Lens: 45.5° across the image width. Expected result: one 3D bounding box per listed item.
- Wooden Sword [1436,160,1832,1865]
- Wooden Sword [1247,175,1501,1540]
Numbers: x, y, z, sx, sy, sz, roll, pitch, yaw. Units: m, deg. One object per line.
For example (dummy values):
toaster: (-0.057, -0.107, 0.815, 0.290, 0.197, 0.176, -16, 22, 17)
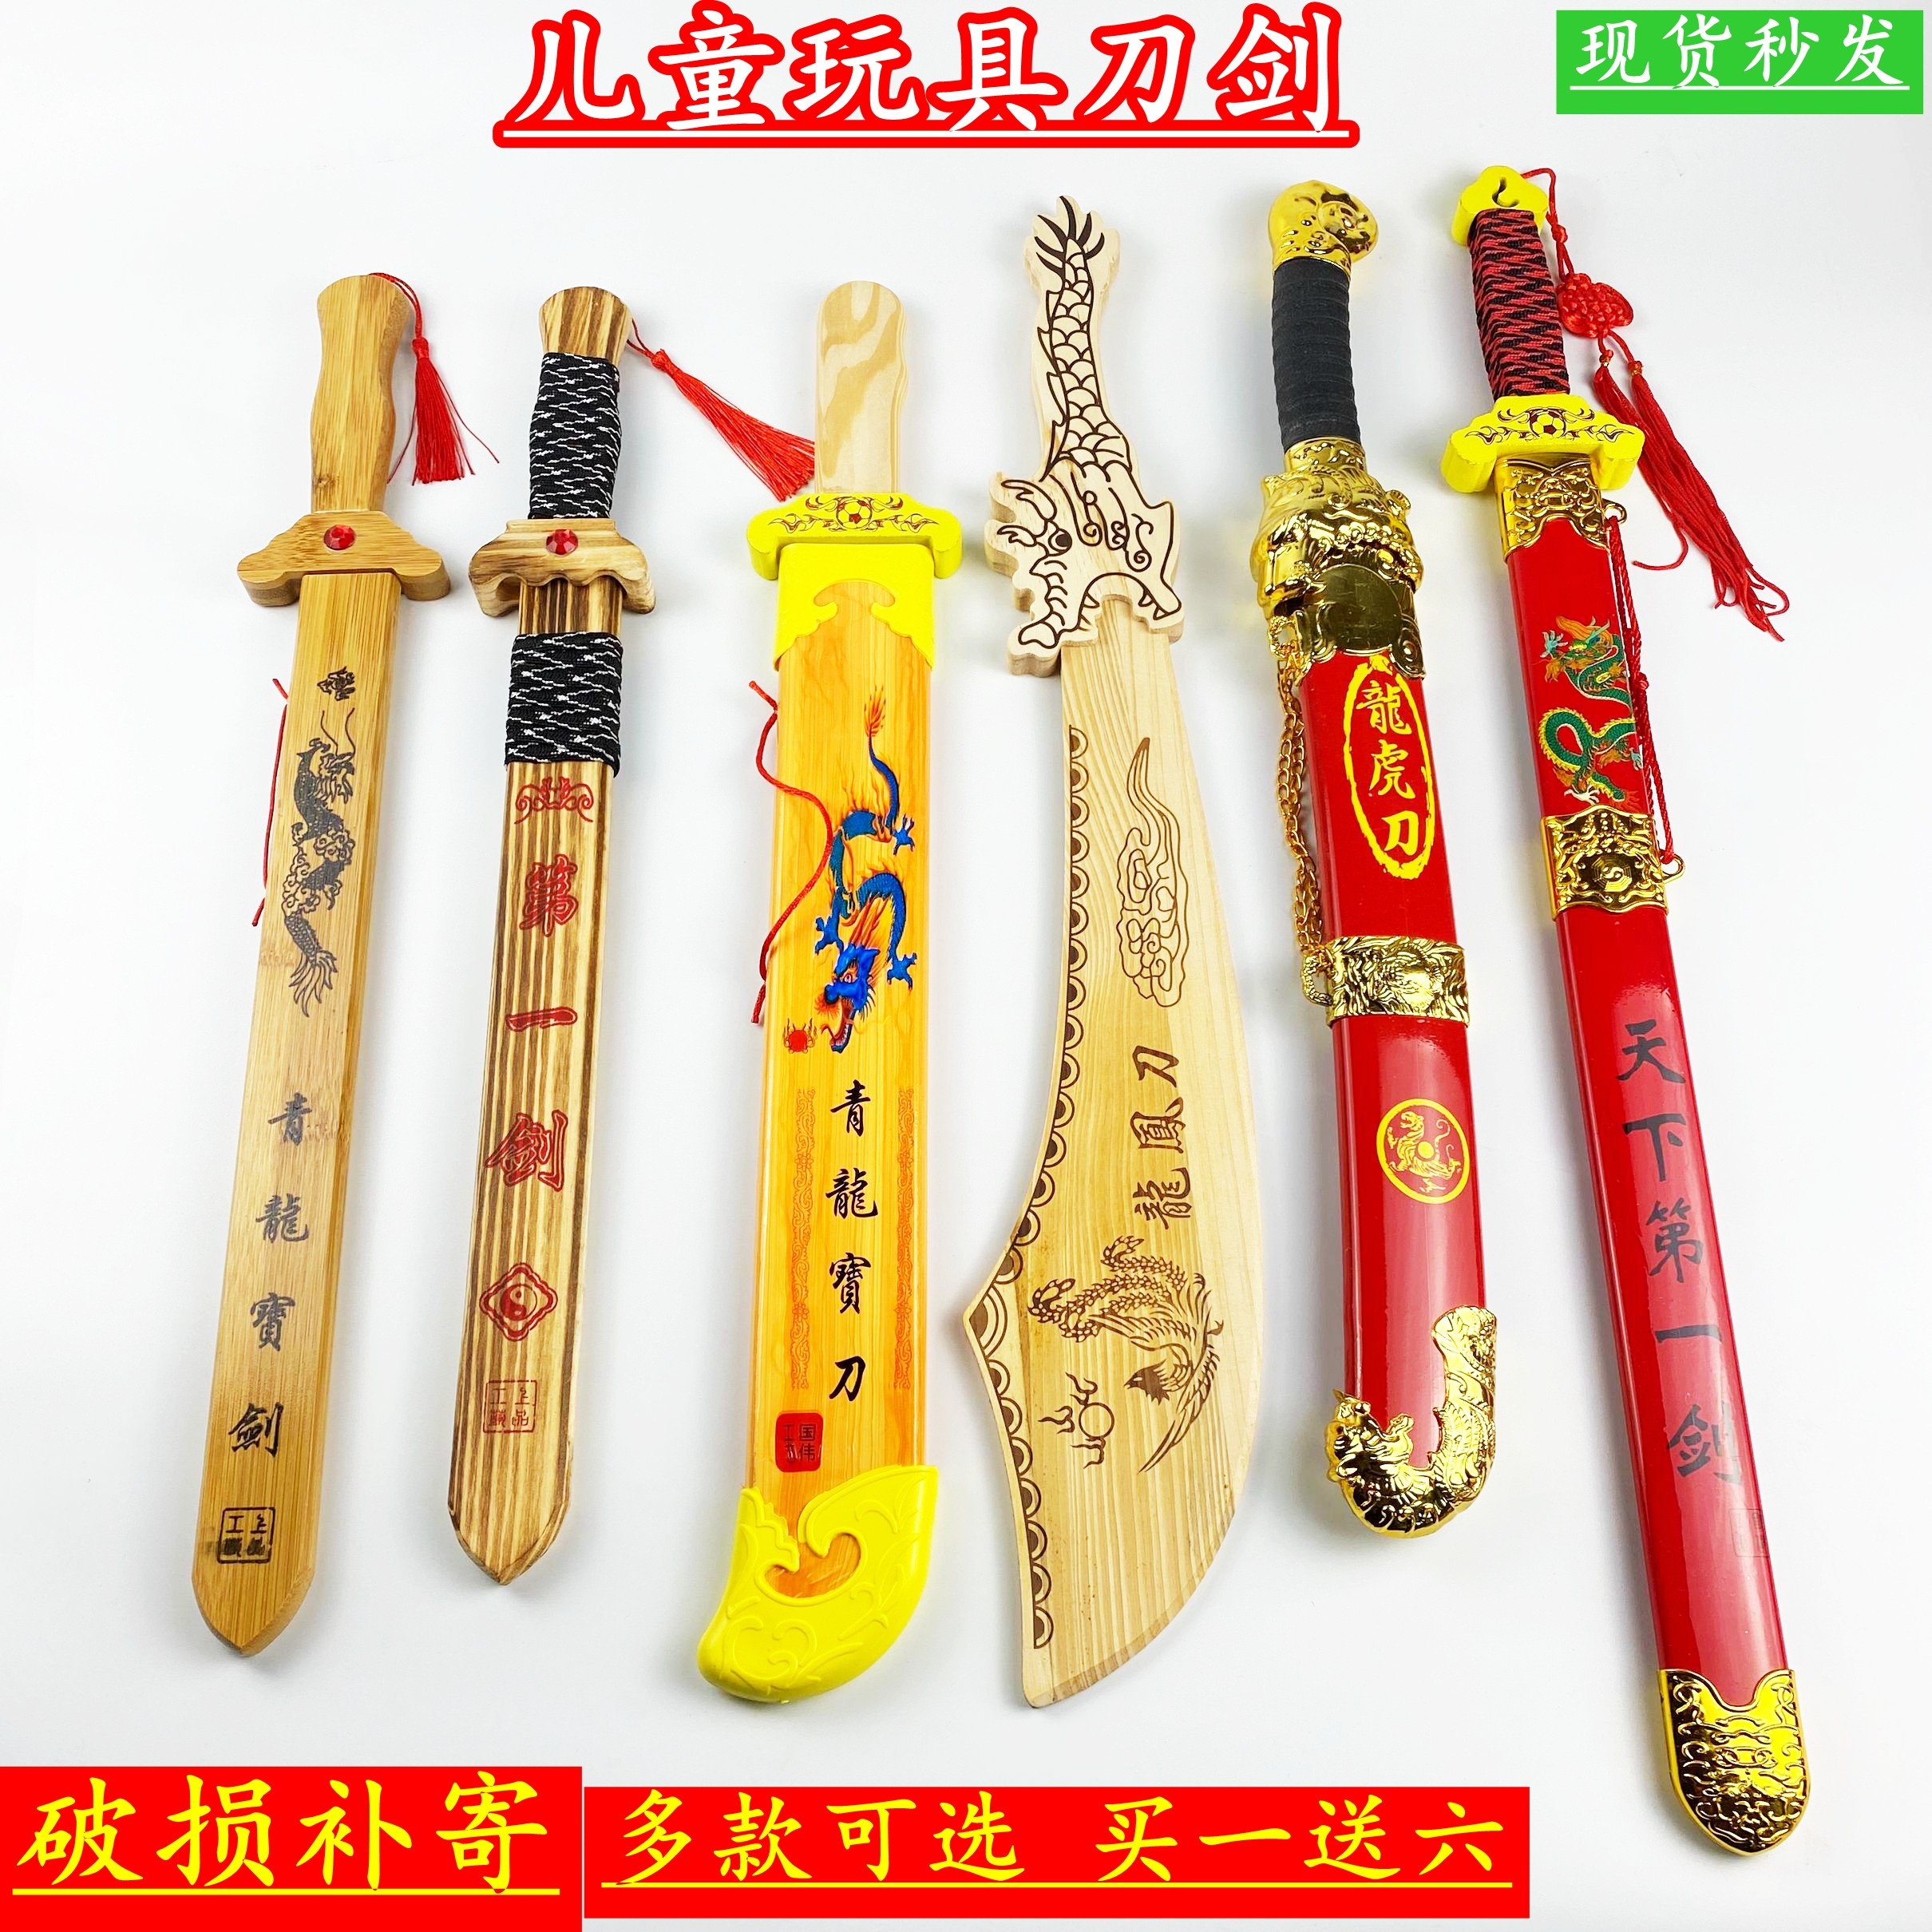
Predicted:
Wooden Sword: (0.687, -0.010, 2.383, 0.241, 1.569, 0.094, -2, -21, 1)
Wooden Sword: (0.429, -0.072, 2.494, 0.248, 1.171, 0.129, -5, -23, 1)
